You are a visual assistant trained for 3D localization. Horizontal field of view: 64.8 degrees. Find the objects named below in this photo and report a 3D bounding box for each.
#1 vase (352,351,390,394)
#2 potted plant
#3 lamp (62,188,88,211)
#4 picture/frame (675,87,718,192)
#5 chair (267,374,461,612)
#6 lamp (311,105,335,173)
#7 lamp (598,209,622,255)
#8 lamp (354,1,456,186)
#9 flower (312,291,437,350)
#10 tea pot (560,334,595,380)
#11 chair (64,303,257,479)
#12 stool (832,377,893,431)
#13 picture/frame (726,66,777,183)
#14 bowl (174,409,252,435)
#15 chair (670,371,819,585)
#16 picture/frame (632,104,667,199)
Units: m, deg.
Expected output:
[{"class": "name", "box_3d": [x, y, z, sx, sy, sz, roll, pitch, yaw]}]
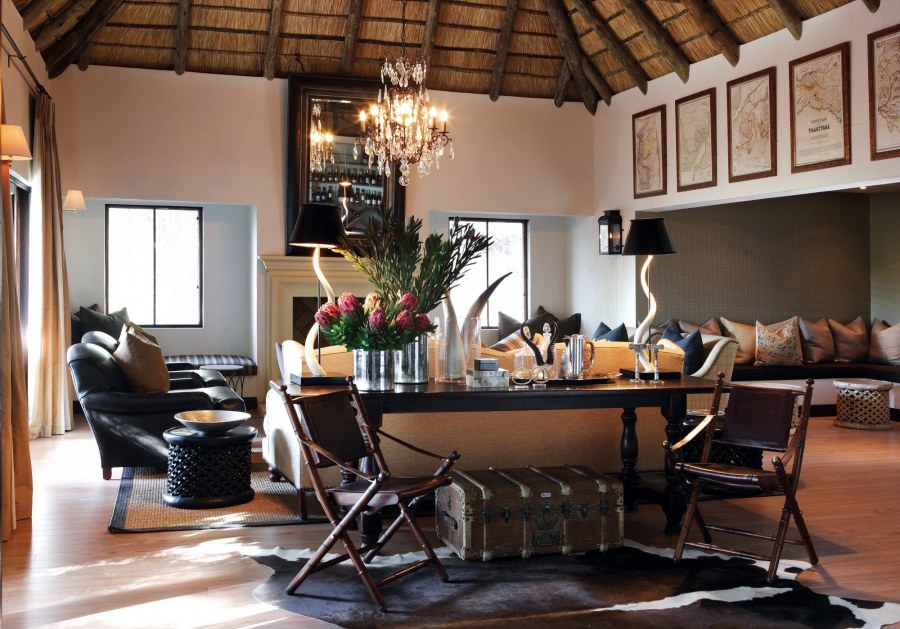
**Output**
[{"class": "vase", "box_3d": [-0.532, 0.375, 4.936, 0.249, 0.306, 0.261, -2, -3, 26]}, {"class": "potted plant", "box_3d": [-0.339, 0.013, 5.272, 0.928, 1.144, 1.155, -5, 2, 38]}, {"class": "lamp", "box_3d": [-4.677, -1.418, 8.855, 0.279, 0.295, 0.299, 2, 6, 13]}, {"class": "picture/frame", "box_3d": [3.138, -2.212, 9.057, 0.111, 1.217, 0.682, -2, 4, -22]}, {"class": "chair", "box_3d": [-0.502, 1.041, 4.298, 0.933, 1.263, 0.964, -1, 1, 7]}, {"class": "lamp", "box_3d": [-1.759, -2.388, 9.624, 0.338, 0.786, 0.396, -5, 10, -12]}, {"class": "lamp", "box_3d": [2.325, -1.193, 10.313, 0.238, 0.647, 0.502, -1, 4, -14]}, {"class": "lamp", "box_3d": [-0.592, -2.919, 8.988, 1.259, 2.499, 2.430, 0, 4, 0]}, {"class": "flower", "box_3d": [-0.526, 0.076, 5.097, 0.677, 0.400, 0.674, -7, -1, 35]}, {"class": "tea pot", "box_3d": [0.931, 0.304, 5.186, 0.221, 0.302, 0.257, 1, 4, 8]}, {"class": "chair", "box_3d": [-2.716, 0.558, 6.598, 1.321, 1.148, 1.437, 0, 4, -19]}, {"class": "stool", "box_3d": [5.006, 1.066, 8.627, 0.552, 0.466, 0.546, 0, -1, -24]}, {"class": "picture/frame", "box_3d": [3.540, -2.203, 8.334, 0.070, 1.245, 0.712, -2, 4, -24]}, {"class": "bowl", "box_3d": [-1.959, 0.871, 5.845, 0.551, 0.153, 0.493, 3, 5, 31]}, {"class": "chair", "box_3d": [1.917, 1.037, 4.671, 0.758, 1.188, 0.759, 4, -2, -41]}, {"class": "picture/frame", "box_3d": [2.729, -2.211, 9.729, 0.067, 1.191, 0.642, -2, 5, -29]}]
